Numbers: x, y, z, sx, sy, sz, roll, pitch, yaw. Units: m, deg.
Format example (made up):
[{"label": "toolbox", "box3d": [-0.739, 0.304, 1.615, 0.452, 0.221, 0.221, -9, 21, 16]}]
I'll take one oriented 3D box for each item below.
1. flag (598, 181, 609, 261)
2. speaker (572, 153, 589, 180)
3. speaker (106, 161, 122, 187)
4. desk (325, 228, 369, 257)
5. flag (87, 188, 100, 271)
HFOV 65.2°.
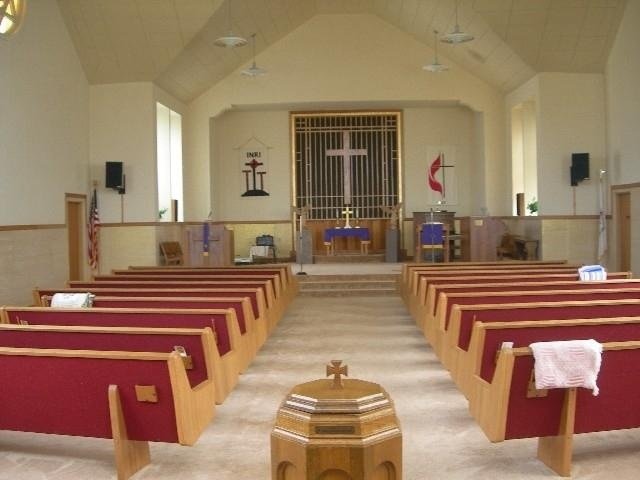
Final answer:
[{"label": "flag", "box3d": [6.196, -0.490, 10.947, 0.170, 2.084, 0.484, 1, 4, 29]}, {"label": "speaker", "box3d": [5.756, -1.637, 11.082, 0.325, 0.590, 0.142, 0, 4, 15]}, {"label": "speaker", "box3d": [-4.589, -1.463, 11.162, 0.352, 0.596, 0.208, -2, 3, -14]}, {"label": "desk", "box3d": [0.775, 0.013, 13.881, 1.134, 0.732, 1.266, -1, 3, 7]}, {"label": "flag", "box3d": [-5.059, -0.229, 11.179, 0.192, 1.891, 0.396, -2, 3, -7]}]
